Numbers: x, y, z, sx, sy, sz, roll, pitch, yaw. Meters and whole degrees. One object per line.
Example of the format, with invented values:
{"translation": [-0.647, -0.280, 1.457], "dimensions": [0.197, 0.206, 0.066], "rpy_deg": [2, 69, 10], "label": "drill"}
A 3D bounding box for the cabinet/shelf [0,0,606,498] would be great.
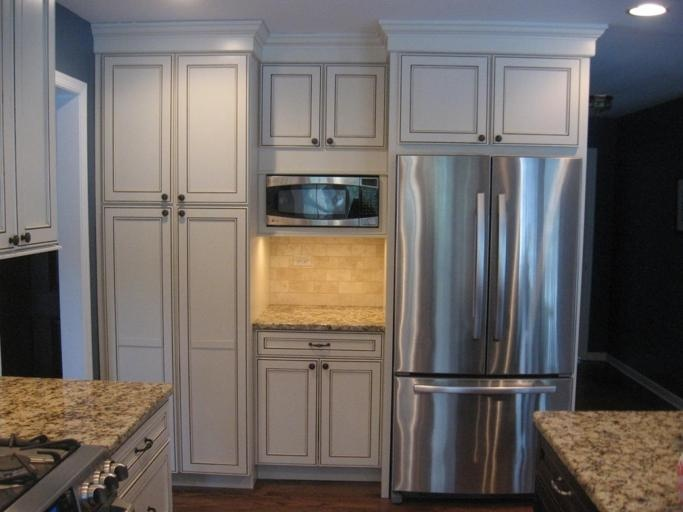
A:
{"translation": [-0.259, -0.067, 3.667], "dimensions": [3.013, 2.752, 0.878], "rpy_deg": [0, 1, 2], "label": "cabinet/shelf"}
